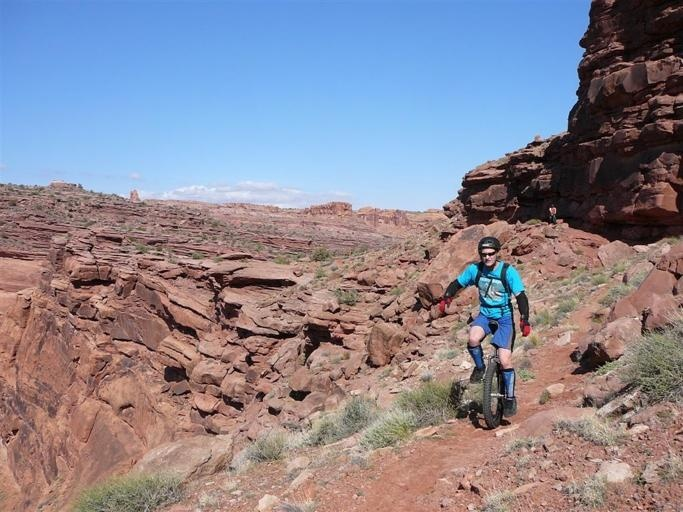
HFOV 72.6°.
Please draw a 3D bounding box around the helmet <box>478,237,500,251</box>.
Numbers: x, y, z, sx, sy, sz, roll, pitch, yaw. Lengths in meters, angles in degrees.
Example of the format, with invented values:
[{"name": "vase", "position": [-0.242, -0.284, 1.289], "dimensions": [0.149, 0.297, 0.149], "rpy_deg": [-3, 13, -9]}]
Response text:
[{"name": "helmet", "position": [3.010, -0.244, 9.449], "dimensions": [0.359, 0.294, 0.666], "rpy_deg": [-3, 3, 22]}]
